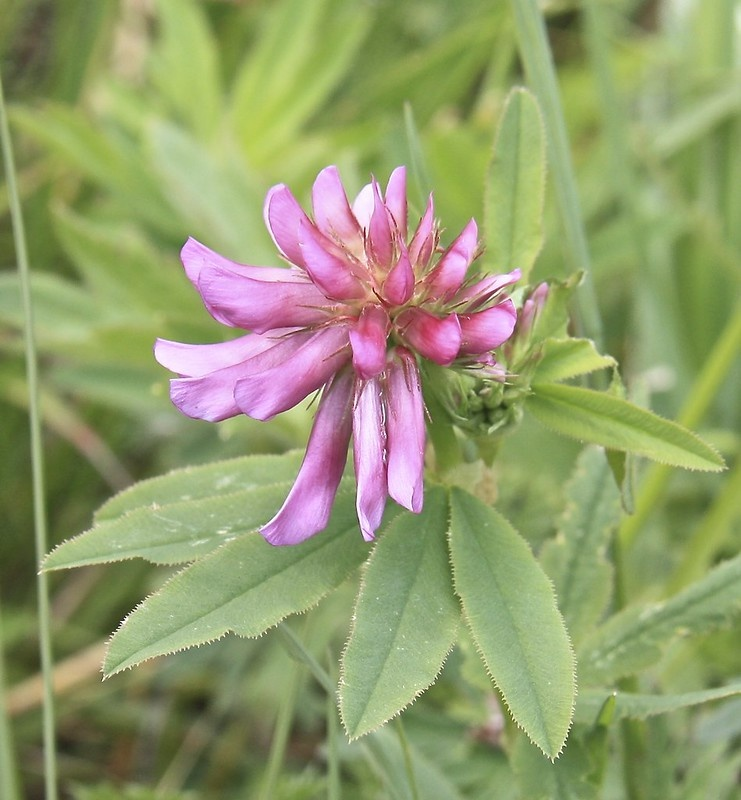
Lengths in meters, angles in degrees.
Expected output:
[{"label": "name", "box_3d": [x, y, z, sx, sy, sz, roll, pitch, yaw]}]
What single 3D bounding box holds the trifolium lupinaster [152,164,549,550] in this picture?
[{"label": "trifolium lupinaster", "box_3d": [-0.010, -0.038, 0.663, 0.272, 0.266, 0.163, -9, 0, -18]}]
